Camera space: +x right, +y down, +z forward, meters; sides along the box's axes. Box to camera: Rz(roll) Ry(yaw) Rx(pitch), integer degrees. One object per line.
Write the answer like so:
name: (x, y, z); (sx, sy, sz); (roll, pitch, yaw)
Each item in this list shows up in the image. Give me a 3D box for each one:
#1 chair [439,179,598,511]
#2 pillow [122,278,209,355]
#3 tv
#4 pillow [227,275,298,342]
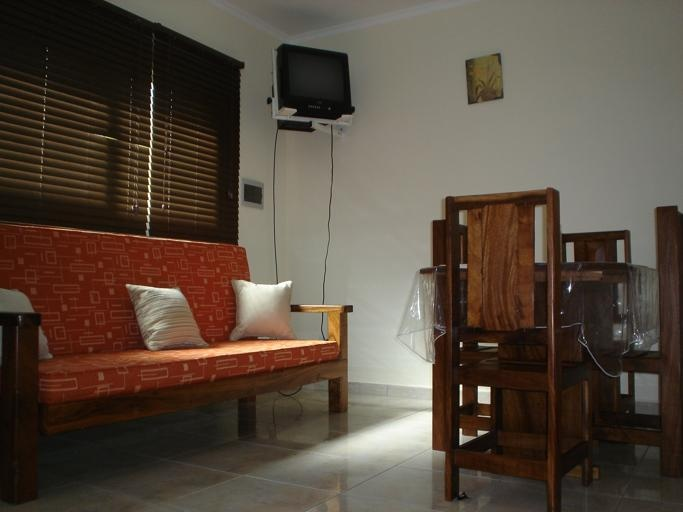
chair: (0.777, 0.377, 2.405); (0.581, 1.271, 0.609); (0, -1, 25)
pillow: (-0.990, 0.317, 3.074); (0.113, 0.381, 0.376); (-37, -20, 29)
tv: (-0.216, -1.342, 4.274); (0.667, 0.586, 0.345); (0, -3, -33)
pillow: (-0.513, 0.362, 3.639); (0.407, 0.409, 0.158); (3, -14, -16)
